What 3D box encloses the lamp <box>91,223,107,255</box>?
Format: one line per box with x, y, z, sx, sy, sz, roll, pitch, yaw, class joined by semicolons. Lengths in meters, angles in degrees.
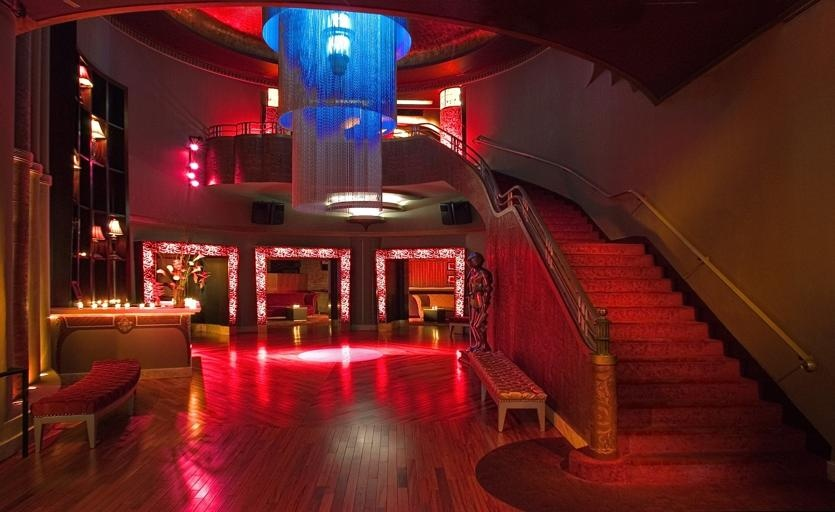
-6.769;-0.344;11.694;0.255;0.659;0.419;1;7;9;lamp

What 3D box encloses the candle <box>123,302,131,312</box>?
-5.829;1.030;11.129;0.189;0.197;0.184;-1;-4;-25;candle

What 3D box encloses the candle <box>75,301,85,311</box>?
-6.542;0.965;10.753;0.163;0.163;0.160;2;1;42;candle

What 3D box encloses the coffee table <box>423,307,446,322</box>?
0.611;2.180;19.064;0.795;0.527;0.438;-6;-11;42;coffee table

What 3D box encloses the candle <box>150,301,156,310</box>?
-5.386;1.011;11.327;0.140;0.128;0.137;-5;3;-41;candle

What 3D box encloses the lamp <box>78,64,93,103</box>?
-6.994;-3.671;11.707;0.221;0.732;0.580;-4;8;-28;lamp

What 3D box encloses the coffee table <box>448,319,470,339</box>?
1.202;2.130;16.314;0.522;0.394;0.515;1;1;-2;coffee table

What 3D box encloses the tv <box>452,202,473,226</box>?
1.283;-1.293;16.134;0.513;0.629;0.140;4;8;29;tv

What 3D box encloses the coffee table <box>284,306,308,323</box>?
-4.332;2.068;19.982;0.634;0.489;0.851;-2;7;-19;coffee table

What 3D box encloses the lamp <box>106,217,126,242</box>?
-6.426;-0.615;12.090;0.438;0.539;0.425;0;10;-12;lamp

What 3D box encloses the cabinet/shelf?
-6.751;-1.586;11.935;0.725;5.198;2.360;-1;7;-11;cabinet/shelf

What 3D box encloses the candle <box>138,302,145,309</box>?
-5.623;0.996;11.268;0.138;0.123;0.135;-4;-1;-18;candle

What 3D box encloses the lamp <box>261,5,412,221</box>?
-1.539;-2.828;10.733;2.385;3.936;1.293;-2;8;-15;lamp

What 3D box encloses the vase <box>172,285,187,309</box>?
-4.934;0.821;11.427;0.188;0.410;0.285;-2;7;-16;vase
